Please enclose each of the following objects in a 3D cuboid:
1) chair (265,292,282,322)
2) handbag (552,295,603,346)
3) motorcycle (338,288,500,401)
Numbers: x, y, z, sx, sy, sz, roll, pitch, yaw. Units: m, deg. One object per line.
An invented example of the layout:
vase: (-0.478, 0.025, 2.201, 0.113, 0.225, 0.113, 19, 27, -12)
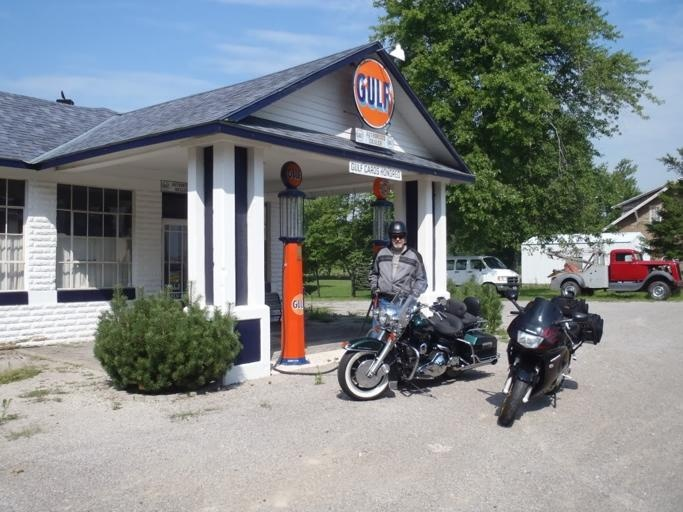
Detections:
chair: (-1.785, 1.292, 16.693, 0.609, 0.711, 1.233, -1, -10, 0)
handbag: (3.417, 0.908, 9.219, 0.787, 0.504, 0.523, 7, -7, -42)
motorcycle: (1.113, 1.329, 9.801, 2.512, 1.583, 1.179, -2, 1, -32)
